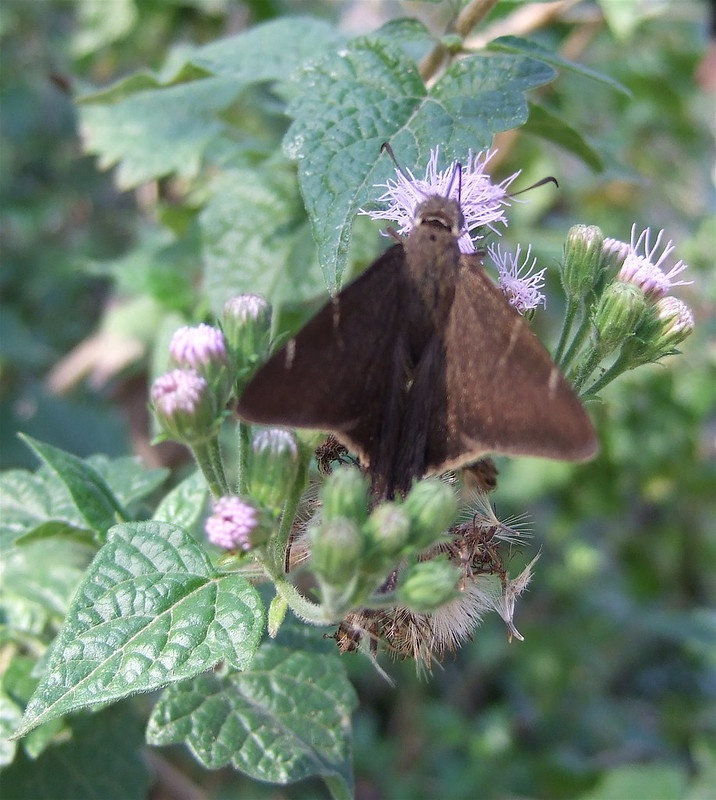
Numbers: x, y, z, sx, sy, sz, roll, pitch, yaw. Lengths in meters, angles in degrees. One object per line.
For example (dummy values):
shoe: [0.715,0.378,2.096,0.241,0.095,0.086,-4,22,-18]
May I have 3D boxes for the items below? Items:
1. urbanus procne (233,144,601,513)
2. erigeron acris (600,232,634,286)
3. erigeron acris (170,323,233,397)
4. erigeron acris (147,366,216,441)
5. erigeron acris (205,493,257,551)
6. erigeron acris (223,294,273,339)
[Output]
urbanus procne: [0.130,-0.107,1.937,0.658,0.209,0.601,4,88,8]
erigeron acris: [0.516,-0.284,2.091,0.064,0.081,0.042,8,24,17]
erigeron acris: [-0.295,-0.072,1.985,0.125,0.091,0.089,57,28,-6]
erigeron acris: [-0.329,0.015,2.011,0.122,0.149,0.135,-19,29,-15]
erigeron acris: [-0.221,0.221,1.882,0.090,0.070,0.094,11,62,9]
erigeron acris: [-0.213,-0.169,2.033,0.087,0.067,0.079,-2,91,-24]
